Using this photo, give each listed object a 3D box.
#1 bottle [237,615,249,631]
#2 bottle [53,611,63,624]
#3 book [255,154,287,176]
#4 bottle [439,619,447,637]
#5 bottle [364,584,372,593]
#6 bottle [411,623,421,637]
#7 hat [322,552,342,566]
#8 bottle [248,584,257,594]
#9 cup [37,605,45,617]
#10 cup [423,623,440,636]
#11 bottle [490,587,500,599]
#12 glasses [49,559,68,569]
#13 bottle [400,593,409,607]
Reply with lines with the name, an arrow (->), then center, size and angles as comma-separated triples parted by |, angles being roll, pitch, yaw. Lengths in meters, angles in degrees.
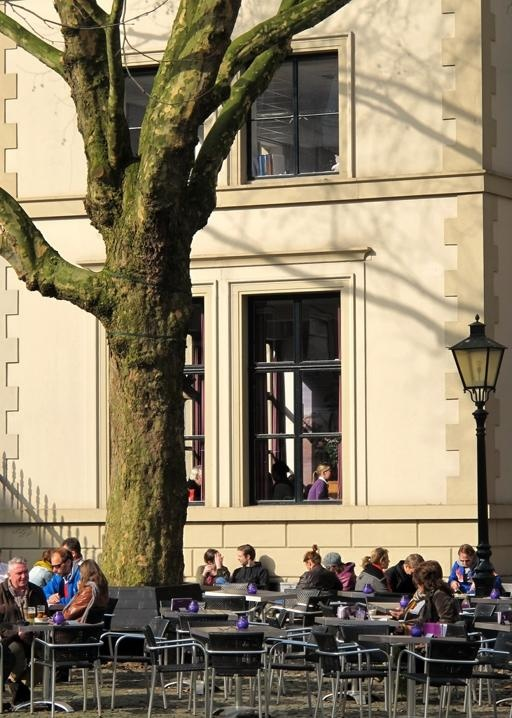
bottle -> -0.094, 2.175, 19.344 | 0.081, 0.120, 0.092 | -2, 0, -6
bottle -> -1.635, 2.194, 19.908 | 0.081, 0.113, 0.089 | -1, -19, 30
book -> 0.152, -2.060, 25.757 | 0.232, 0.222, 0.247 | -5, -5, 34
bottle -> 1.530, 2.258, 19.528 | 0.069, 0.118, 0.132 | 0, -11, 0
bottle -> 1.068, 2.212, 22.576 | 0.065, 0.077, 0.068 | -5, -10, 37
bottle -> 1.306, 2.254, 19.554 | 0.071, 0.126, 0.080 | 3, -11, -14
hat -> 0.761, 2.030, 23.740 | 0.140, 0.095, 0.119 | 4, 3, 2
bottle -> -0.032, 2.216, 22.609 | 0.070, 0.106, 0.080 | 3, 1, 10
cup -> -1.821, 2.188, 20.292 | 0.056, 0.117, 0.062 | 0, -1, 13
cup -> 1.457, 2.265, 19.636 | 0.089, 0.085, 0.098 | 2, -1, 0
bottle -> 2.208, 2.202, 21.947 | 0.061, 0.077, 0.069 | 1, -2, -11
glasses -> -1.740, 1.902, 21.645 | 0.118, 0.042, 0.113 | 19, -22, -38
bottle -> 1.291, 2.155, 20.958 | 0.077, 0.118, 0.085 | 2, 2, 0
